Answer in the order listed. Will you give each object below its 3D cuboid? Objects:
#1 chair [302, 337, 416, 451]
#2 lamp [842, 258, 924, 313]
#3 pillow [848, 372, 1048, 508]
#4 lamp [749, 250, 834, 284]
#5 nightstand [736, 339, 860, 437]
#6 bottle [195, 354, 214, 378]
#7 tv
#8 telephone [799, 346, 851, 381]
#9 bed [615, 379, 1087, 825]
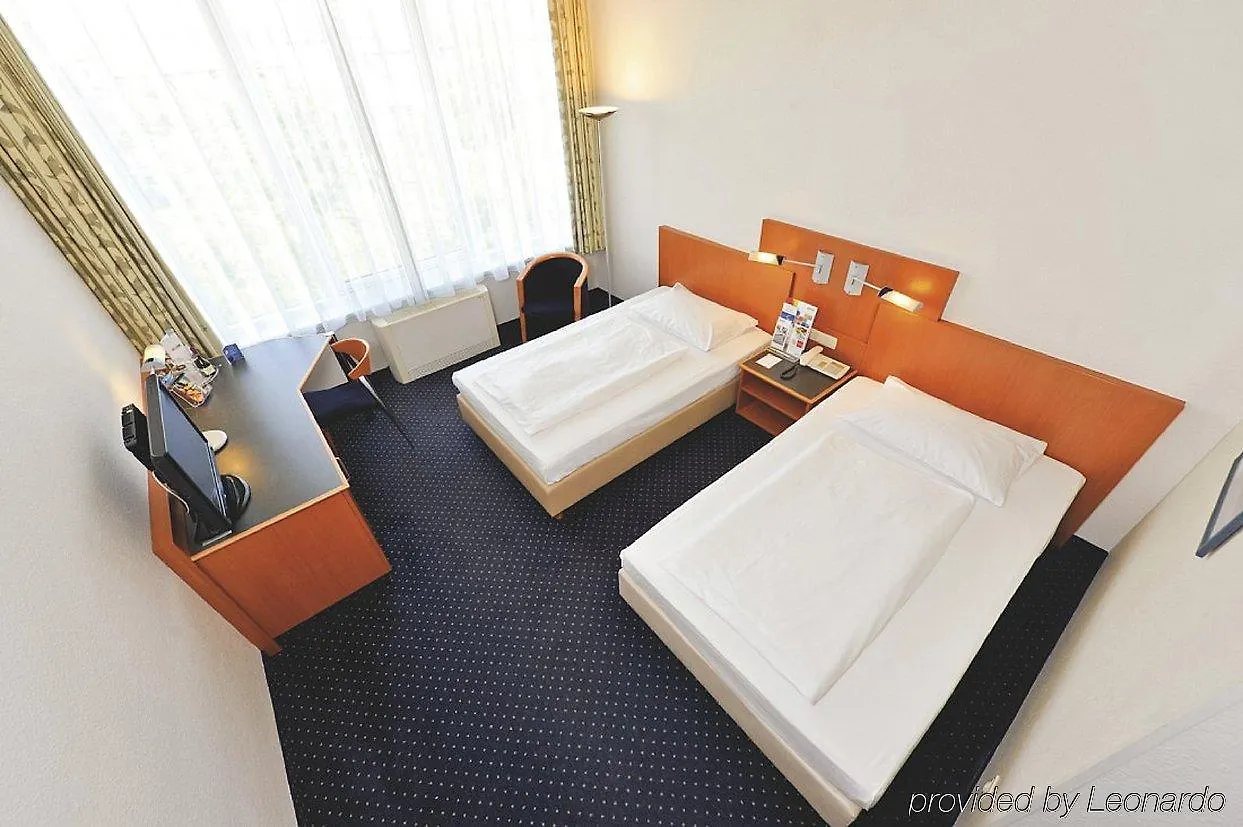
[{"bbox_3d":[-2.084,-0.315,5.619,0.723,1.015,0.677,-26,69,-27],"label":"chair"},{"bbox_3d":[1.852,-0.873,5.089,0.192,0.273,0.628,-23,42,-24],"label":"lamp"},{"bbox_3d":[2.127,0.156,4.796,1.038,0.226,0.665,31,59,33],"label":"pillow"},{"bbox_3d":[1.326,-1.136,5.512,0.519,0.206,0.129,17,90,24],"label":"lamp"},{"bbox_3d":[1.371,-0.226,5.821,0.743,0.748,0.753,-33,52,-24],"label":"nightstand"},{"bbox_3d":[-2.919,-0.333,5.054,0.073,0.205,0.074,7,62,-13],"label":"bottle"},{"bbox_3d":[-2.527,0.305,4.280,0.329,0.748,0.662,-24,59,-16],"label":"tv"},{"bbox_3d":[1.571,-0.386,5.565,0.248,0.106,0.306,-38,57,-26],"label":"telephone"},{"bbox_3d":[1.411,0.971,4.654,2.208,1.190,1.818,-31,45,-31],"label":"bed"}]
